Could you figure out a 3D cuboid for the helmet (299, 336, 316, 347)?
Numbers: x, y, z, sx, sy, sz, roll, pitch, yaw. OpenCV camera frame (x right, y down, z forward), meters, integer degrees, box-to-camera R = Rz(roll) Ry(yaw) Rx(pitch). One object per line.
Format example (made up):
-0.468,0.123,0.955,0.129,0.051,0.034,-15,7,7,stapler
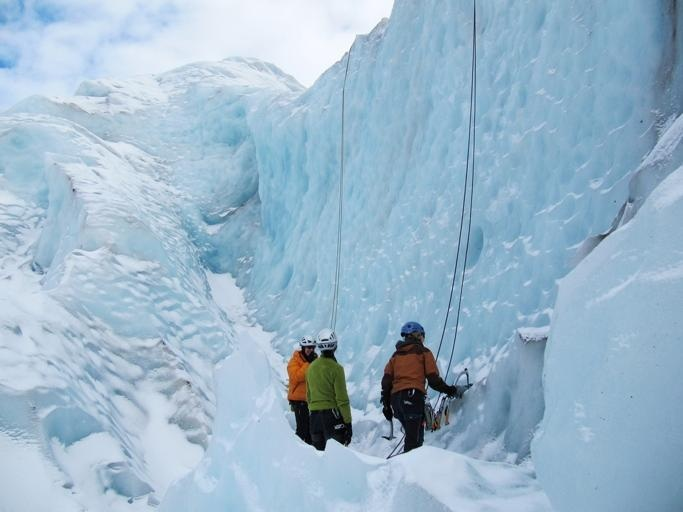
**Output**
-0.324,0.850,9.466,0.091,0.124,0.121,16,37,33,helmet

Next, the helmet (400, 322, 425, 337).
0.661,0.674,8.966,0.160,0.146,0.132,-4,-4,-24,helmet

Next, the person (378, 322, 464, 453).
0.710,1.222,8.973,0.702,1.109,0.506,-11,-18,2,person

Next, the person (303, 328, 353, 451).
-0.150,1.253,9.031,0.470,1.060,0.415,-14,-18,15,person

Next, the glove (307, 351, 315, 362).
-0.293,0.979,9.416,0.101,0.056,0.061,-51,18,-29,glove

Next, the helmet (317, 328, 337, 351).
-0.132,0.787,9.019,0.141,0.209,0.181,2,-9,6,helmet
